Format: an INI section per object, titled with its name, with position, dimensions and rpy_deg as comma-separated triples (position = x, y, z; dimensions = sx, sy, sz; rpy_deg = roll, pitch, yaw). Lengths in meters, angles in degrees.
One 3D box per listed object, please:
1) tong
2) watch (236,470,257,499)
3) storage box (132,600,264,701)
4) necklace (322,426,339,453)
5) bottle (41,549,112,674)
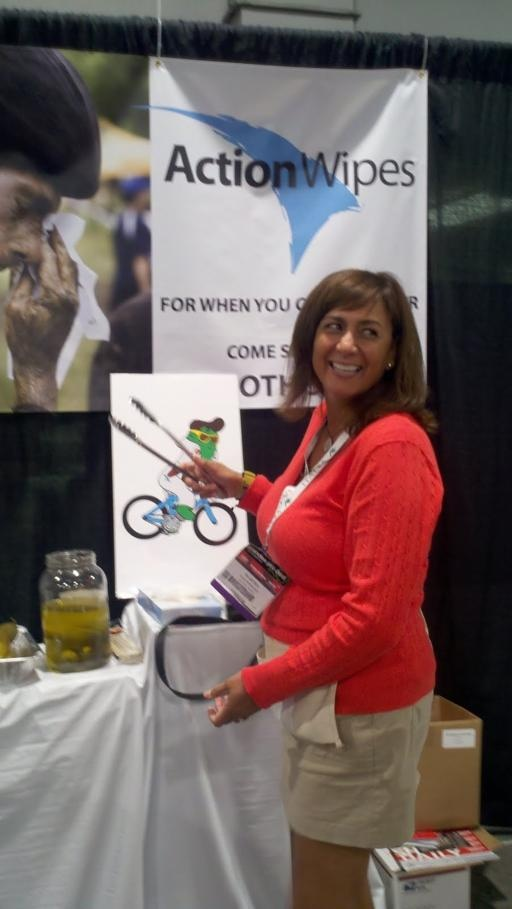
[tong]
position = -0.269, -0.057, 1.985
dimensions = 0.435, 0.134, 0.059
rpy_deg = 41, -26, -4
[watch]
position = -0.011, 0.069, 1.669
dimensions = 0.036, 0.054, 0.057
rpy_deg = 14, 11, 19
[storage box]
position = -0.122, 0.417, 1.558
dimensions = 0.153, 0.067, 0.167
rpy_deg = 20, 12, 40
[necklace]
position = 0.131, -0.024, 1.254
dimensions = 0.012, 0.017, 0.043
rpy_deg = 17, 30, 7
[bottle]
position = -0.394, 0.335, 1.579
dimensions = 0.141, 0.258, 0.141
rpy_deg = -3, 5, 0
